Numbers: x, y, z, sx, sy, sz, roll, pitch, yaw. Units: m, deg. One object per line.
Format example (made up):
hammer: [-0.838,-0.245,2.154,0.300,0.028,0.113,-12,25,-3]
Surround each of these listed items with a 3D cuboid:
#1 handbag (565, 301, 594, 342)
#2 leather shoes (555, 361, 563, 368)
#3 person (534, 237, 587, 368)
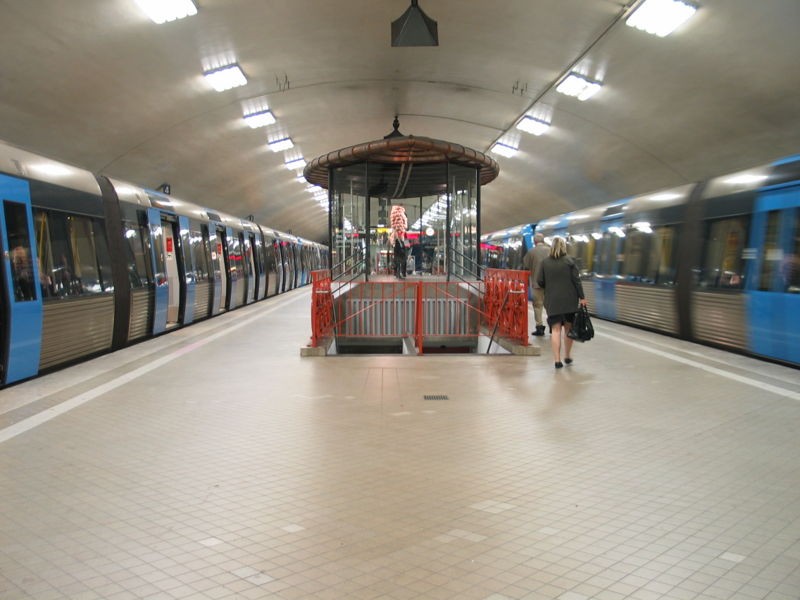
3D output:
handbag: [3.224,0.399,8.480,0.378,0.693,0.397,1,4,24]
leather shoes: [2.893,1.180,8.672,0.167,0.107,0.105,-2,-6,3]
person: [2.880,0.059,8.589,0.763,2.366,0.339,1,3,16]
